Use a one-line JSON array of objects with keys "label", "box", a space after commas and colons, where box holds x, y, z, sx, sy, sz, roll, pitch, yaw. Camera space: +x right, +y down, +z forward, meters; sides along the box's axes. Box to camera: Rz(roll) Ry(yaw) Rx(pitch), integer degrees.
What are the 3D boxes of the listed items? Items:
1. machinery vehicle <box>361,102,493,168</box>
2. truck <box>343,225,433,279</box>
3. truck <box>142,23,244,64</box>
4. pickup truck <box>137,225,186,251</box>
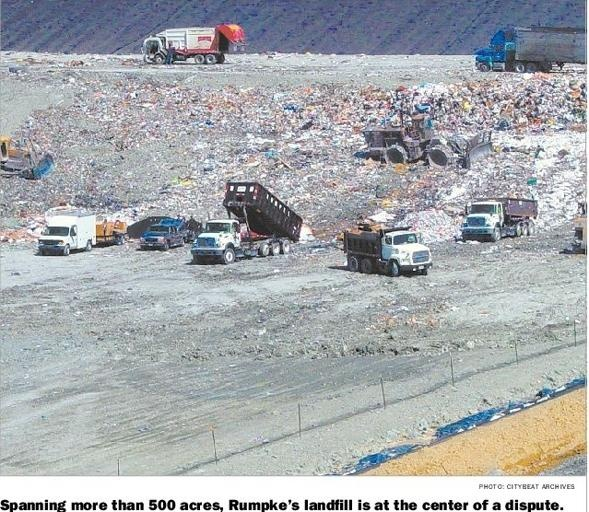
[{"label": "machinery vehicle", "box": [7.561, -6.447, 45.891, 6.978, 2.939, 3.627, 3, 26, 13]}, {"label": "truck", "box": [3.205, -0.185, 28.633, 1.405, 1.622, 4.512, -2, 4, -22]}, {"label": "truck", "box": [-7.695, -15.896, 60.773, 7.577, 2.781, 1.561, 1, 16, 10]}, {"label": "pickup truck", "box": [-6.123, -0.823, 37.045, 1.200, 1.168, 1.960, 6, 16, 27]}]
